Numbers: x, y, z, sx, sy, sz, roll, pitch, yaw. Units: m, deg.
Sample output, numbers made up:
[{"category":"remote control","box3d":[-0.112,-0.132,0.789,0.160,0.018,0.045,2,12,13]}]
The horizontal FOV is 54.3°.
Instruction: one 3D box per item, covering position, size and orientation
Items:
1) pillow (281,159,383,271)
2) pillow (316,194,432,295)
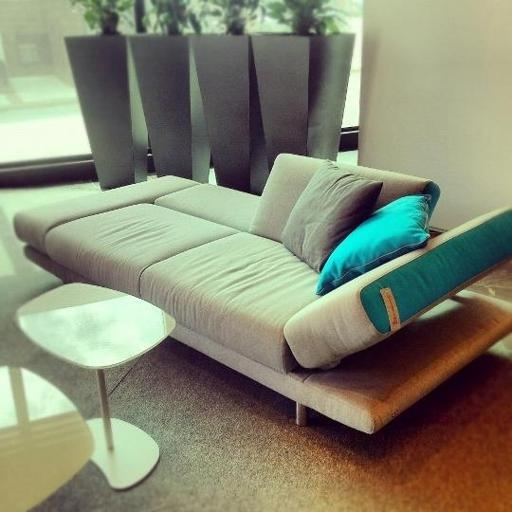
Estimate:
[{"category":"pillow","box3d":[0.263,-0.151,1.854,0.114,0.395,0.388,20,10,-19]},{"category":"pillow","box3d":[0.398,-0.040,1.678,0.299,0.325,0.341,15,35,13]}]
